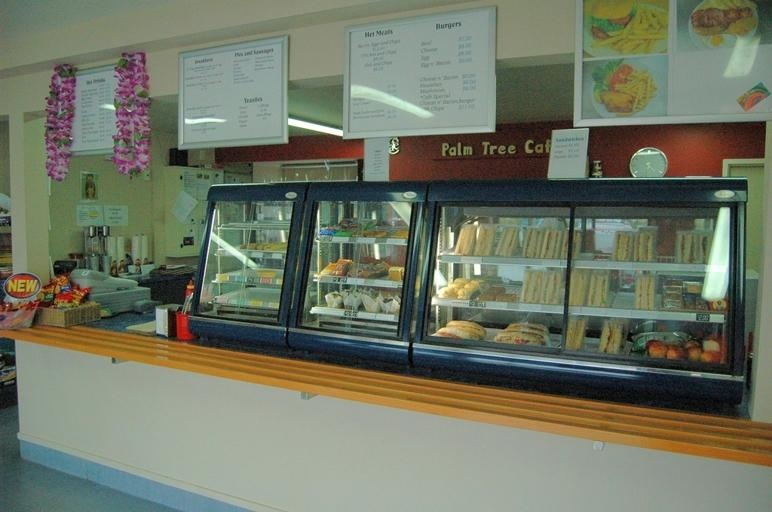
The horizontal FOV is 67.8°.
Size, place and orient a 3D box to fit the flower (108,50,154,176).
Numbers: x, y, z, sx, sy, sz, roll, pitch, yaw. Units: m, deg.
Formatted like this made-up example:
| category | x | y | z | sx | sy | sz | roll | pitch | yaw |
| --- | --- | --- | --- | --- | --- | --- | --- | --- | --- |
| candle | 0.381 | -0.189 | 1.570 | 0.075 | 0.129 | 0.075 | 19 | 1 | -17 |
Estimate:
| category | x | y | z | sx | sy | sz | roll | pitch | yaw |
| --- | --- | --- | --- | --- | --- | --- | --- | --- | --- |
| flower | -2.219 | -1.225 | 4.970 | 0.399 | 1.038 | 0.195 | 3 | 3 | 39 |

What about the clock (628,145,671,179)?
| category | x | y | z | sx | sy | sz | roll | pitch | yaw |
| --- | --- | --- | --- | --- | --- | --- | --- | --- | --- |
| clock | 3.364 | -1.210 | 7.328 | 0.467 | 0.392 | 0.243 | 2 | 2 | 18 |

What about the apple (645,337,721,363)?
| category | x | y | z | sx | sy | sz | roll | pitch | yaw |
| --- | --- | --- | --- | --- | --- | --- | --- | --- | --- |
| apple | 1.832 | 0.575 | 3.512 | 0.316 | 0.085 | 0.169 | -3 | 1 | 23 |

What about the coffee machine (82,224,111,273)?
| category | x | y | z | sx | sy | sz | roll | pitch | yaw |
| --- | --- | --- | --- | --- | --- | --- | --- | --- | --- |
| coffee machine | -3.712 | -0.088 | 7.349 | 0.351 | 0.584 | 0.256 | -1 | 3 | -41 |

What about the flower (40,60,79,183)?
| category | x | y | z | sx | sy | sz | roll | pitch | yaw |
| --- | --- | --- | --- | --- | --- | --- | --- | --- | --- |
| flower | -3.001 | -1.219 | 5.230 | 0.390 | 1.033 | 0.130 | 3 | 3 | 29 |

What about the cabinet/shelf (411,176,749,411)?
| category | x | y | z | sx | sy | sz | roll | pitch | yaw |
| --- | --- | --- | --- | --- | --- | --- | --- | --- | --- |
| cabinet/shelf | 1.269 | 0.257 | 3.658 | 1.921 | 1.094 | 0.613 | 2 | -3 | 21 |

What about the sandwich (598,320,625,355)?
| category | x | y | z | sx | sy | sz | roll | pitch | yaw |
| --- | --- | --- | --- | --- | --- | --- | --- | --- | --- |
| sandwich | 1.443 | 0.525 | 3.682 | 0.140 | 0.211 | 0.061 | 5 | -24 | 32 |

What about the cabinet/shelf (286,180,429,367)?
| category | x | y | z | sx | sy | sz | roll | pitch | yaw |
| --- | --- | --- | --- | --- | --- | --- | --- | --- | --- |
| cabinet/shelf | 0.000 | 0.122 | 4.441 | 1.068 | 1.159 | 0.795 | 4 | -3 | 33 |

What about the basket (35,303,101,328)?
| category | x | y | z | sx | sy | sz | roll | pitch | yaw |
| --- | --- | --- | --- | --- | --- | --- | --- | --- | --- |
| basket | -2.770 | 0.521 | 4.976 | 0.490 | 0.187 | 0.192 | 0 | 3 | -25 |
